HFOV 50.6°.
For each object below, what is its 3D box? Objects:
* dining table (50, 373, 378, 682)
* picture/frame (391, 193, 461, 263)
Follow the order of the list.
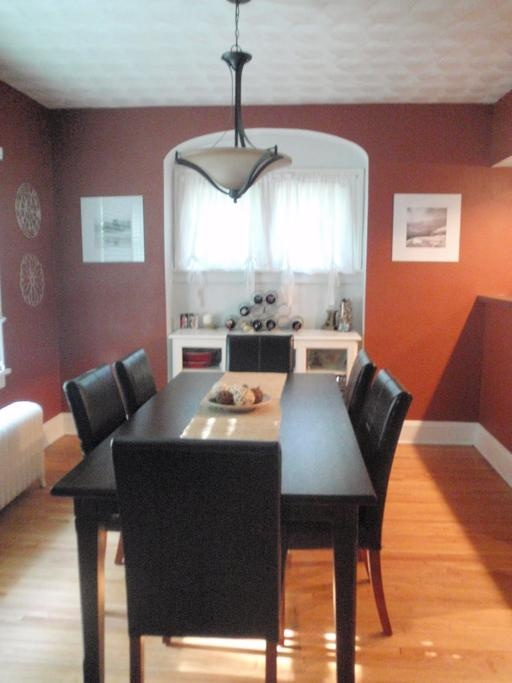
[{"bbox_3d":[-0.094,0.589,1.741,0.860,0.902,1.116,2,7,8],"label":"dining table"},{"bbox_3d":[1.231,-0.841,3.865,0.388,0.495,0.018,1,4,2],"label":"picture/frame"}]
